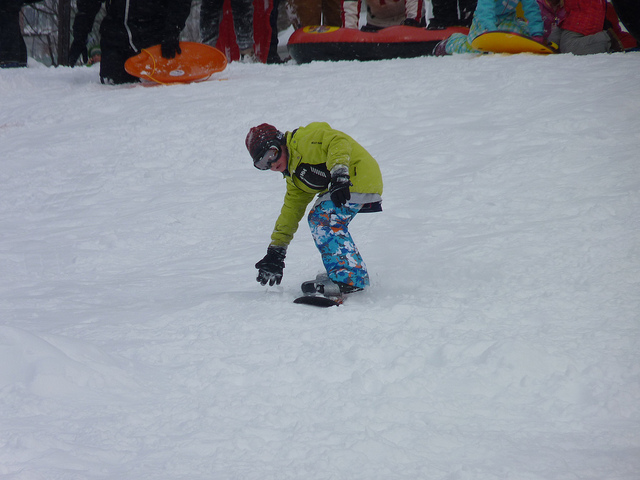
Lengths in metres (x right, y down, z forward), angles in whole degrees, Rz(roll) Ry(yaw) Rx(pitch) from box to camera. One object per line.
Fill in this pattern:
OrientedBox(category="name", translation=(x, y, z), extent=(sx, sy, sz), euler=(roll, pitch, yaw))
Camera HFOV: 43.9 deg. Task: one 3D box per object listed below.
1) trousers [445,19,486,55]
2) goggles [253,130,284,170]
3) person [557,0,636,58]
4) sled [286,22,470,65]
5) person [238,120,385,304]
OrientedBox(category="trousers", translation=(1.610, -2.184, 8.628), extent=(0.251, 0.297, 0.669), euler=(-20, 33, -22))
OrientedBox(category="goggles", translation=(-0.311, -0.532, 4.893), extent=(0.073, 0.124, 0.178), euler=(26, 13, -35))
OrientedBox(category="person", translation=(2.869, -2.201, 8.231), extent=(0.795, 0.700, 1.785), euler=(6, 10, 18))
OrientedBox(category="sled", translation=(0.632, -2.488, 9.816), extent=(2.212, 0.447, 0.398), euler=(6, 11, 28))
OrientedBox(category="person", translation=(-0.039, -0.237, 5.209), extent=(0.848, 1.085, 1.258), euler=(3, 10, 2))
